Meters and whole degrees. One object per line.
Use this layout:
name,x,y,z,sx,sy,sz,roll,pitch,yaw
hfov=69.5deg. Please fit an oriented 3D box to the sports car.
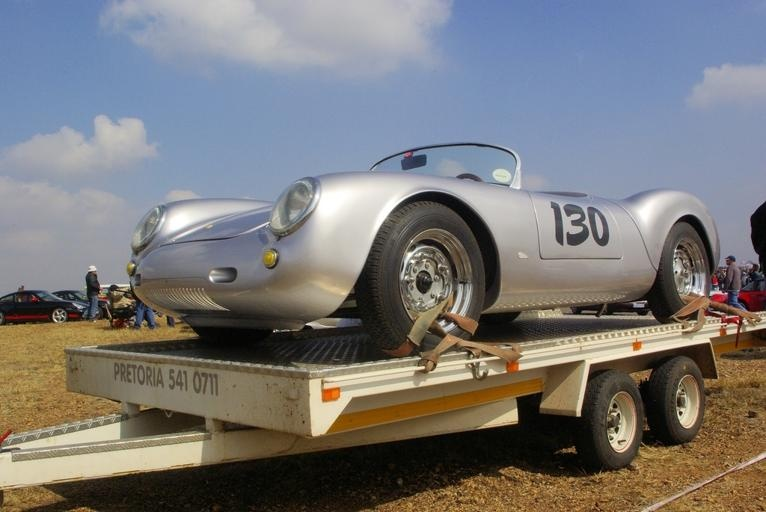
sports car,0.611,0.064,4.638,4.218,1.281,2.250,6,-13,-33

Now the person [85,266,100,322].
person,-8.493,1.088,15.998,0.449,1.606,0.584,-1,0,-43

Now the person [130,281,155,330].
person,-6.012,1.343,13.767,0.657,1.224,0.342,5,22,-16
